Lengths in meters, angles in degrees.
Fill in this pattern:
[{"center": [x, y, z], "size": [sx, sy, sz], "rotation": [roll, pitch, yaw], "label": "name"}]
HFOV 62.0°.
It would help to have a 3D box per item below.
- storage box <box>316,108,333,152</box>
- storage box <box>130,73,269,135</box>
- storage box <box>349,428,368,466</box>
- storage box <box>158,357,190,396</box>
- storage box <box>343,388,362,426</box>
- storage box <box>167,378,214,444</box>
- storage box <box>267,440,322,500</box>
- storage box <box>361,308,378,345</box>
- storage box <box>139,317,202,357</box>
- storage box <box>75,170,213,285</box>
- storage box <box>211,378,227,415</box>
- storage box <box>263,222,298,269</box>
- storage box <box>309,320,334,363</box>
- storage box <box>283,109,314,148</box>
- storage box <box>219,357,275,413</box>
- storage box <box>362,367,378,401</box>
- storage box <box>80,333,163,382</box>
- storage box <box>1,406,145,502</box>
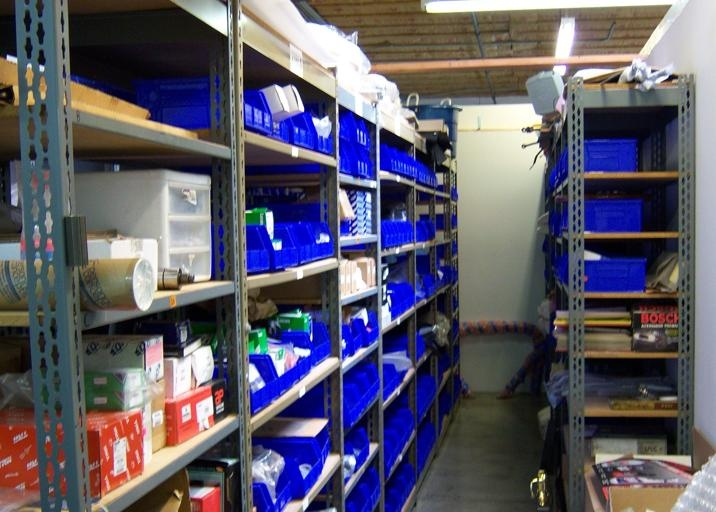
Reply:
[{"center": [-0.158, -0.602, 2.872], "size": [0.059, 0.228, 0.224], "rotation": [-2, 2, 7], "label": "storage box"}, {"center": [-0.588, -0.527, 2.281], "size": [0.332, 0.136, 0.282], "rotation": [1, 7, 9], "label": "storage box"}, {"center": [0.015, 1.110, 3.492], "size": [0.126, 0.132, 0.183], "rotation": [-1, 0, 6], "label": "storage box"}, {"center": [-0.584, 0.387, 1.939], "size": [0.084, 0.124, 0.167], "rotation": [-1, -1, 7], "label": "storage box"}, {"center": [-0.034, 0.812, 3.250], "size": [0.123, 0.152, 0.205], "rotation": [-3, -6, 4], "label": "storage box"}, {"center": [-0.526, 0.505, 1.918], "size": [0.107, 0.137, 0.198], "rotation": [0, 4, 24], "label": "storage box"}, {"center": [-0.276, 0.891, 2.609], "size": [0.187, 0.184, 0.272], "rotation": [-1, 0, 9], "label": "storage box"}, {"center": [0.077, 0.432, 3.654], "size": [0.141, 0.190, 0.208], "rotation": [1, 1, 16], "label": "storage box"}, {"center": [-0.619, 0.235, 1.971], "size": [0.151, 0.082, 0.118], "rotation": [2, 0, 10], "label": "storage box"}, {"center": [-0.679, -0.140, 2.037], "size": [0.415, 0.456, 0.325], "rotation": [0, 0, 12], "label": "storage box"}, {"center": [-0.474, 0.478, 2.028], "size": [0.048, 0.102, 0.092], "rotation": [-2, -14, 8], "label": "storage box"}, {"center": [-0.316, -0.044, 2.484], "size": [0.134, 0.147, 0.148], "rotation": [-1, 1, 13], "label": "storage box"}, {"center": [-0.190, 0.426, 2.910], "size": [0.074, 0.196, 0.273], "rotation": [-2, 3, 7], "label": "storage box"}, {"center": [-0.261, -0.545, 2.562], "size": [0.091, 0.184, 0.187], "rotation": [-1, 6, 15], "label": "storage box"}, {"center": [-0.430, 0.450, 2.293], "size": [0.161, 0.176, 0.236], "rotation": [-2, -1, 16], "label": "storage box"}, {"center": [0.090, 0.772, 3.603], "size": [0.128, 0.133, 0.187], "rotation": [0, -2, 7], "label": "storage box"}, {"center": [-0.709, 0.289, 1.797], "size": [0.229, 0.126, 0.131], "rotation": [0, 1, 3], "label": "storage box"}, {"center": [-0.762, 0.521, 1.603], "size": [0.232, 0.167, 0.248], "rotation": [4, -6, -16], "label": "storage box"}]
